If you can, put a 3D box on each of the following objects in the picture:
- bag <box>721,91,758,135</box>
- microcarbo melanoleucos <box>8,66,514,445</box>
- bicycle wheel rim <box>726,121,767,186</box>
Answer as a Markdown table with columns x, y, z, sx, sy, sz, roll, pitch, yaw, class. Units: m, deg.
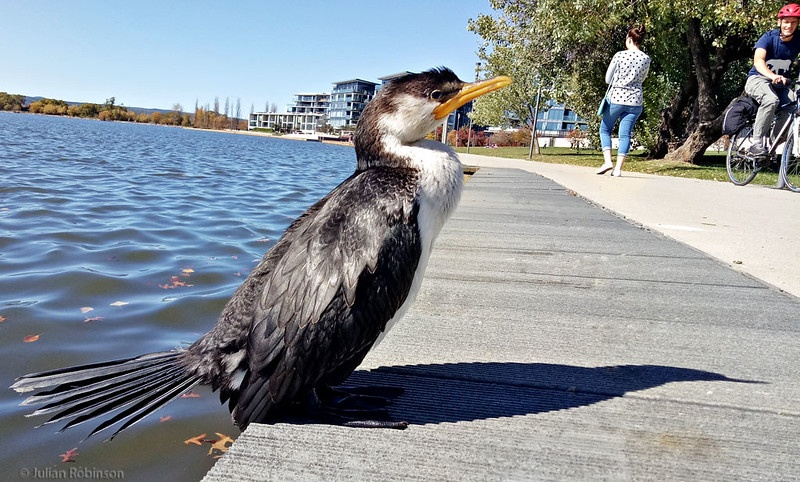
| x | y | z | sx | sy | sz | roll | pitch | yaw | class |
| --- | --- | --- | --- | --- | --- | --- | --- | --- | --- |
| 5.827 | -2.131 | 9.807 | 0.725 | 0.636 | 0.523 | -5 | 15 | -8 | bag |
| -0.862 | 0.096 | 3.615 | 3.364 | 2.118 | 1.136 | -6 | 12 | -10 | microcarbo melanoleucos |
| 5.949 | -1.487 | 10.128 | 0.587 | 1.111 | 1.261 | 2 | 3 | 29 | bicycle wheel rim |
